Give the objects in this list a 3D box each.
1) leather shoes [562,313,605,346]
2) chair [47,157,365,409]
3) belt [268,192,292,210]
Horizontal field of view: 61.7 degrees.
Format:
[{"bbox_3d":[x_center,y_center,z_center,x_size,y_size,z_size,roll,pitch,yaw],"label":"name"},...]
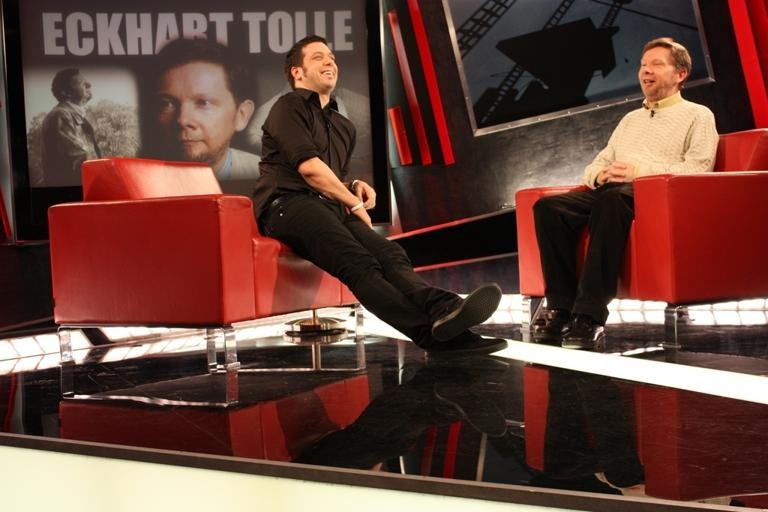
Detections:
[{"bbox_3d":[0.944,0.364,3.062,0.160,0.136,0.220,3,13,28],"label":"leather shoes"},{"bbox_3d":[-0.843,0.095,3.384,1.104,1.033,1.408,-2,-1,16],"label":"chair"},{"bbox_3d":[-0.508,-0.263,3.127,0.112,0.033,0.085,-8,9,-13],"label":"belt"}]
